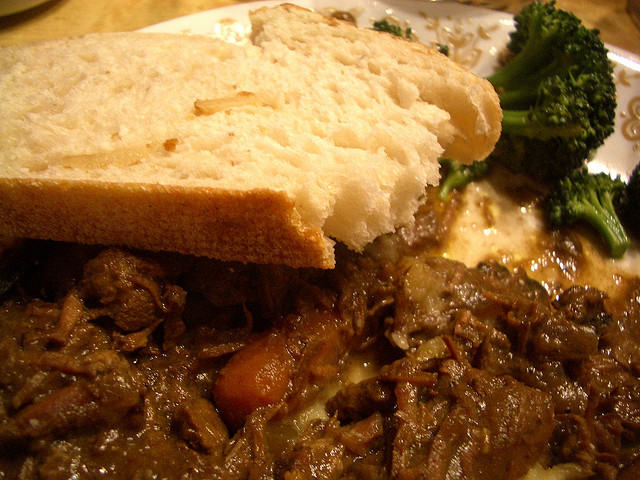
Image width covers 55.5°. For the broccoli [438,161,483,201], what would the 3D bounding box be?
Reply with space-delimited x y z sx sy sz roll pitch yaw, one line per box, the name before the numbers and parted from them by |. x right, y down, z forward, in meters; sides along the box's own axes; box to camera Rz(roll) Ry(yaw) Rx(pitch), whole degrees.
broccoli | 1.008 -0.429 4.483 0.297 0.094 0.299 -2 93 -4
